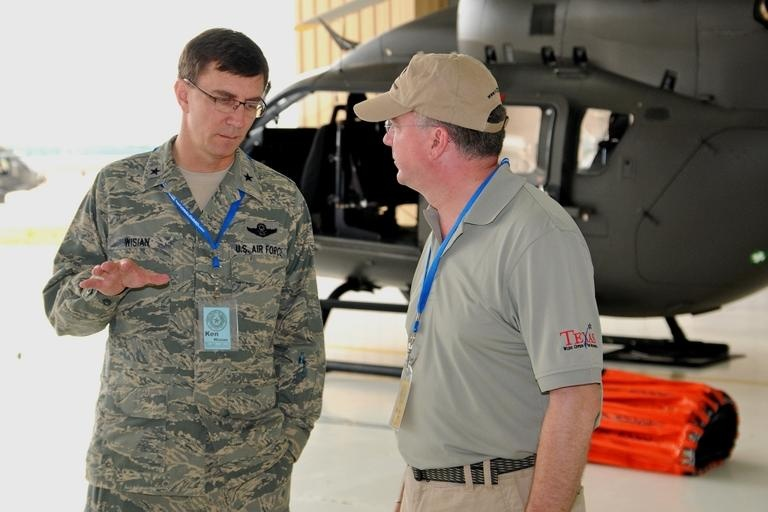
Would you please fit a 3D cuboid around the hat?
[{"bbox_3d":[0.218,-0.744,3.681,0.564,0.264,0.339,10,14,9],"label":"hat"}]
